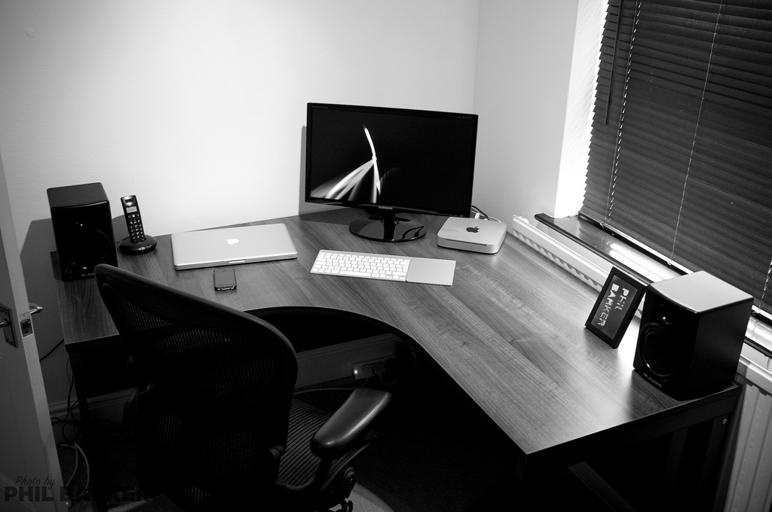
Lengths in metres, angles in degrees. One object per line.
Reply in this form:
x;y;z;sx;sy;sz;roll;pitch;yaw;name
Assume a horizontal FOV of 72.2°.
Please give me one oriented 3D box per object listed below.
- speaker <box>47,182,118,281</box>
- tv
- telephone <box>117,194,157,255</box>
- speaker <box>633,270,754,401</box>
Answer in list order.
-1.285;-0.100;2.229;0.240;0.406;0.315;-13;44;-24;speaker
0.023;-0.400;2.578;0.650;0.477;0.254;6;31;6;tv
-1.187;-0.148;2.511;0.175;0.272;0.175;-18;35;-32;telephone
1.039;0.272;1.811;0.329;0.318;0.254;-14;29;-26;speaker
